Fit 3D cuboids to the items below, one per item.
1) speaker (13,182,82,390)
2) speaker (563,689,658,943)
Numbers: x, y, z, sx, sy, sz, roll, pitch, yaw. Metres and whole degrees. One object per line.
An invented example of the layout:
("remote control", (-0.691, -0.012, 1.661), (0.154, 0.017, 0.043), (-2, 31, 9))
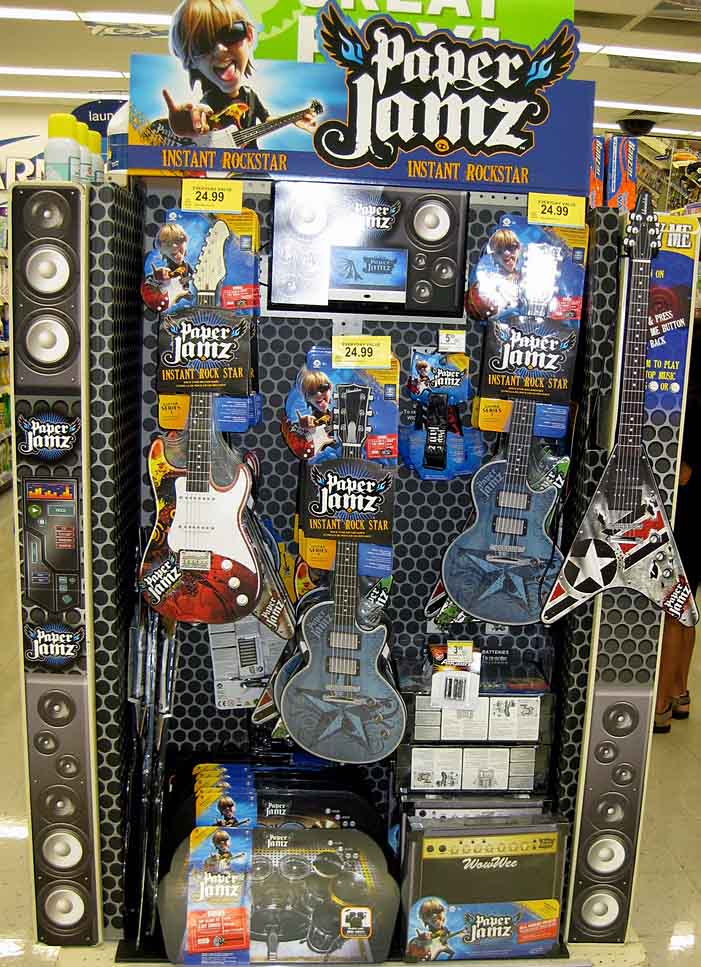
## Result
("speaker", (-0.598, -0.378, 1.487), (0.146, 0.403, 0.059), (3, 2, 3))
("speaker", (0.620, 0.794, 1.791), (0.164, 0.667, 0.084), (2, 2, -4))
